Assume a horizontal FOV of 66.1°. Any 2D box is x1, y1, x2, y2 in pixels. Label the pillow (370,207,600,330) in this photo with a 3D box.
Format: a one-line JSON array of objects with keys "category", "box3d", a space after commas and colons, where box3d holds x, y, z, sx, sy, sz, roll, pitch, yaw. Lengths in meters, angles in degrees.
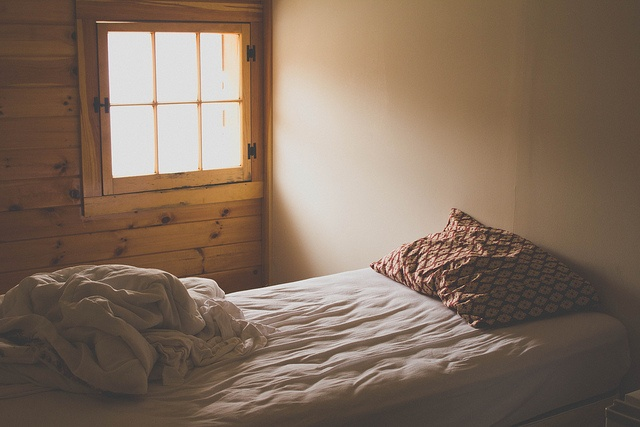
[{"category": "pillow", "box3d": [0.843, 0.279, 2.715, 0.737, 0.270, 0.928, -8, 20, -18]}]
